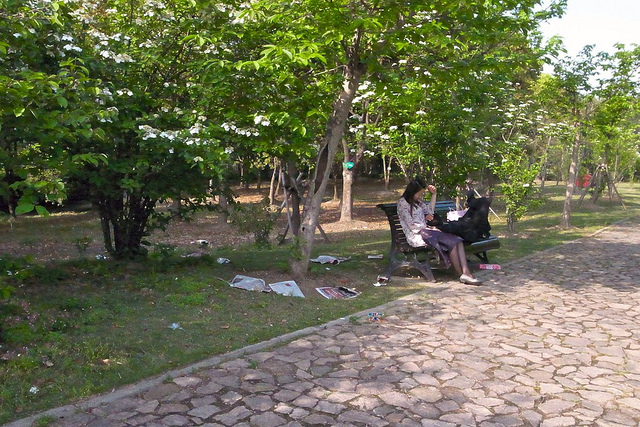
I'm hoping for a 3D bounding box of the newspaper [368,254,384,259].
[{"bbox_3d":[1.454,1.131,12.268,0.377,0.059,0.359,1,5,6],"label":"newspaper"}]

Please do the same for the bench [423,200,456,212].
[{"bbox_3d":[3.274,-0.226,12.328,0.948,0.296,0.314,-5,17,-35],"label":"bench"}]

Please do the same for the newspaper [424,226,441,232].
[{"bbox_3d":[2.420,0.323,9.959,0.309,0.065,0.340,3,6,24],"label":"newspaper"}]

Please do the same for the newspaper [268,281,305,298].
[{"bbox_3d":[-0.617,1.417,8.666,0.581,0.149,0.729,-1,6,-20],"label":"newspaper"}]
